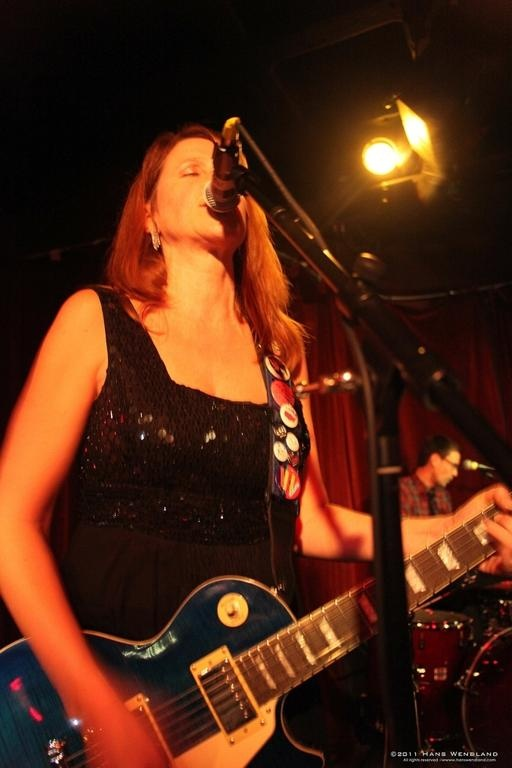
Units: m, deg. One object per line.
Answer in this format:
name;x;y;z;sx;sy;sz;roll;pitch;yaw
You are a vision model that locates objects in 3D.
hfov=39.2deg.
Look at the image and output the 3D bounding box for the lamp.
lamp;0.596;-1.010;3.031;0.073;0.330;0.226;2;-37;-41
